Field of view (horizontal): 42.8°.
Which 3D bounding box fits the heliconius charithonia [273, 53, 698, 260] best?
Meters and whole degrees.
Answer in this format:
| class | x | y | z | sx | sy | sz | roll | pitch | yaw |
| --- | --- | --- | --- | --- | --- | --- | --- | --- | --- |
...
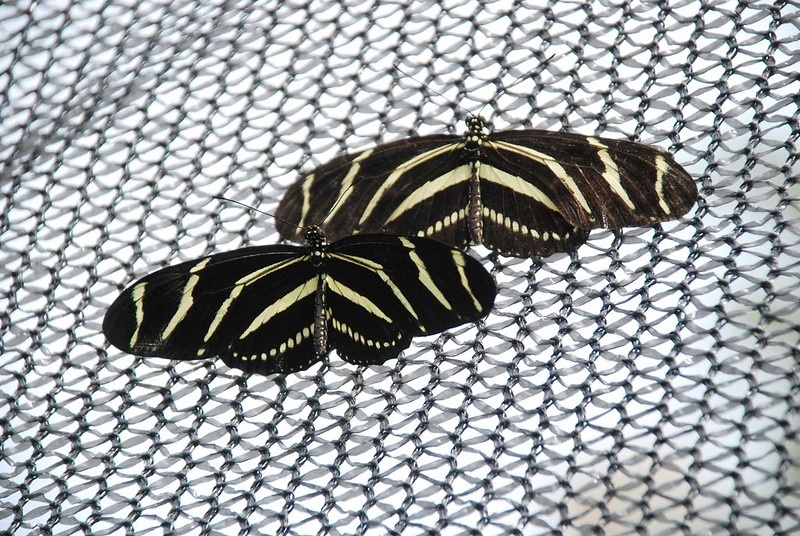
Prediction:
| class | x | y | z | sx | sy | sz | roll | pitch | yaw |
| --- | --- | --- | --- | --- | --- | --- | --- | --- | --- |
| heliconius charithonia | 0.486 | -0.451 | 6.068 | 2.986 | 0.198 | 0.815 | 0 | 97 | -20 |
